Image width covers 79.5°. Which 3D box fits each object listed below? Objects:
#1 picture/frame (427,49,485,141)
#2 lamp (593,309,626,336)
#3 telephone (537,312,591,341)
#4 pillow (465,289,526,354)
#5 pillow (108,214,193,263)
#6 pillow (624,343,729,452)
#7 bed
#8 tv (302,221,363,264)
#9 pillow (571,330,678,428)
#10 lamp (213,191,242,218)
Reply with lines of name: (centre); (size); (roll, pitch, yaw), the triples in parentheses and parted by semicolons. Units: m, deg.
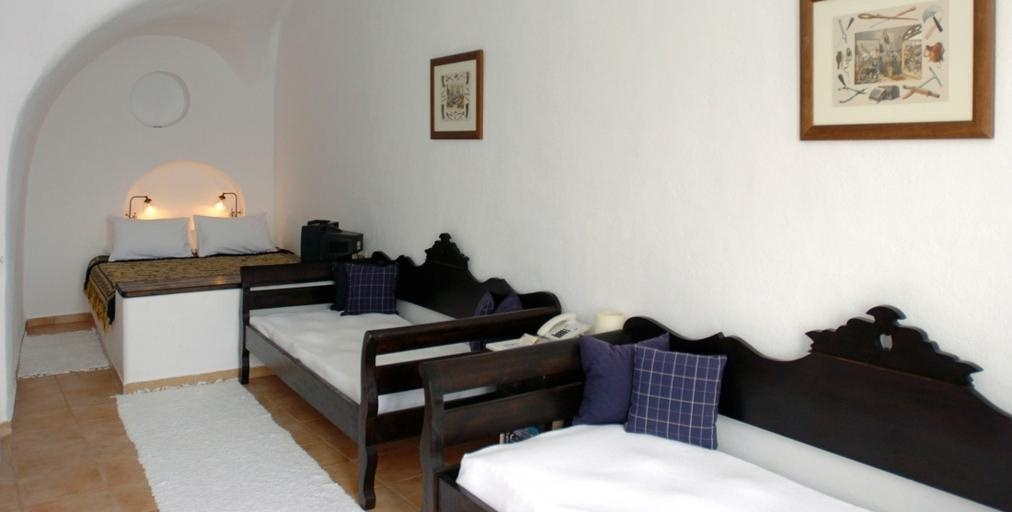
picture/frame: (-0.455, -1.542, 5.848); (0.678, 0.824, 0.112); (4, 11, 41)
lamp: (0.824, 0.514, 4.849); (0.226, 0.207, 0.202); (-1, 7, -14)
telephone: (0.483, 0.586, 4.968); (0.326, 0.149, 0.238); (-8, 9, -34)
pillow: (-0.026, 0.491, 5.574); (0.211, 0.494, 0.543); (21, -30, -40)
pillow: (-4.599, -0.264, 7.978); (0.299, 0.512, 0.954); (10, 9, 42)
pillow: (1.226, 1.027, 4.335); (0.791, 0.671, 0.269); (11, -5, 20)
bed: (-3.416, 0.649, 6.576); (1.818, 0.534, 1.680); (-5, 11, -33)
tv: (-1.989, -0.196, 7.264); (0.716, 0.424, 0.413); (2, 9, 14)
pillow: (0.827, 0.985, 4.670); (0.880, 0.685, 0.288); (11, -3, -34)
lamp: (-3.868, -0.784, 8.737); (0.429, 0.555, 0.278); (0, 3, -32)
